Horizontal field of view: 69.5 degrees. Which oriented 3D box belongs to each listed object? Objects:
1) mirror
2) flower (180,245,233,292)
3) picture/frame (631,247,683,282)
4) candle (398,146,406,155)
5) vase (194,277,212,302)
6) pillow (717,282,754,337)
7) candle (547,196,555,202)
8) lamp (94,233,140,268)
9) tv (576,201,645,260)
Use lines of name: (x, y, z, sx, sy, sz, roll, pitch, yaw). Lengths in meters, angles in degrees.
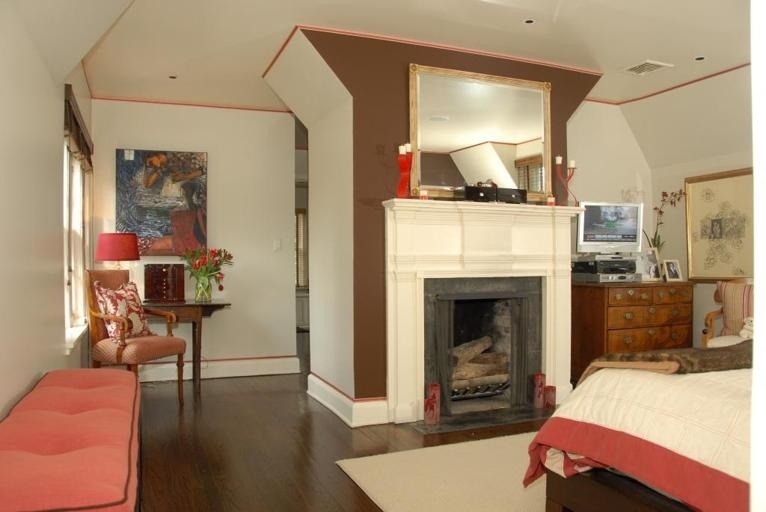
mirror: (0.862, -1.165, 5.215, 1.490, 1.148, 0.073, -1, 3, -20)
flower: (-1.960, 0.141, 6.385, 0.531, 0.517, 0.499, 5, 4, 4)
picture/frame: (3.145, 0.105, 6.332, 0.398, 0.356, 0.151, 1, -8, -17)
candle: (0.164, -0.919, 4.825, 0.060, 0.079, 0.019, -2, 3, -3)
vase: (-1.984, 0.370, 6.077, 0.170, 0.256, 0.317, -2, 5, -21)
pillow: (3.476, 0.525, 5.443, 0.284, 0.525, 0.472, 1, 5, 22)
candle: (1.648, -0.556, 5.417, 0.071, 0.068, 0.067, 2, 6, 0)
lamp: (-2.862, -0.063, 5.930, 0.382, 0.379, 0.534, -3, 5, -27)
tv: (2.430, -0.300, 5.913, 0.808, 0.545, 0.225, -3, 5, -23)
